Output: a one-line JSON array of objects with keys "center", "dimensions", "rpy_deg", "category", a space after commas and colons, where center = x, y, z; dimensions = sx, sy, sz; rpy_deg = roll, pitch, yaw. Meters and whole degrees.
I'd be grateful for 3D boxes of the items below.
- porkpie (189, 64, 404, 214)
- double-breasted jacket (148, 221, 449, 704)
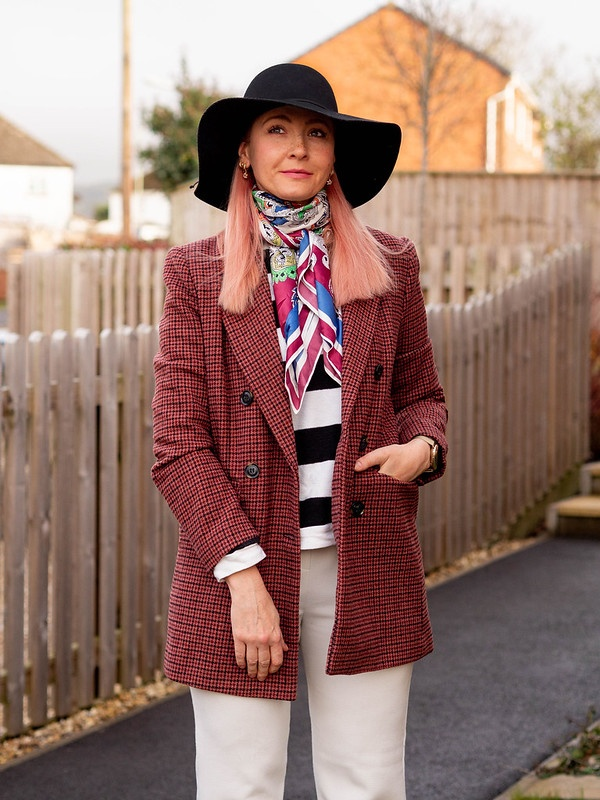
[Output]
[{"center": [-0.020, -0.645, 2.977], "dimensions": [0.358, 0.222, 0.399], "rpy_deg": [2, -31, -5], "category": "porkpie"}, {"center": [0.014, 0.138, 2.855], "dimensions": [0.737, 1.049, 0.468], "rpy_deg": [-3, 8, -11], "category": "double-breasted jacket"}]
